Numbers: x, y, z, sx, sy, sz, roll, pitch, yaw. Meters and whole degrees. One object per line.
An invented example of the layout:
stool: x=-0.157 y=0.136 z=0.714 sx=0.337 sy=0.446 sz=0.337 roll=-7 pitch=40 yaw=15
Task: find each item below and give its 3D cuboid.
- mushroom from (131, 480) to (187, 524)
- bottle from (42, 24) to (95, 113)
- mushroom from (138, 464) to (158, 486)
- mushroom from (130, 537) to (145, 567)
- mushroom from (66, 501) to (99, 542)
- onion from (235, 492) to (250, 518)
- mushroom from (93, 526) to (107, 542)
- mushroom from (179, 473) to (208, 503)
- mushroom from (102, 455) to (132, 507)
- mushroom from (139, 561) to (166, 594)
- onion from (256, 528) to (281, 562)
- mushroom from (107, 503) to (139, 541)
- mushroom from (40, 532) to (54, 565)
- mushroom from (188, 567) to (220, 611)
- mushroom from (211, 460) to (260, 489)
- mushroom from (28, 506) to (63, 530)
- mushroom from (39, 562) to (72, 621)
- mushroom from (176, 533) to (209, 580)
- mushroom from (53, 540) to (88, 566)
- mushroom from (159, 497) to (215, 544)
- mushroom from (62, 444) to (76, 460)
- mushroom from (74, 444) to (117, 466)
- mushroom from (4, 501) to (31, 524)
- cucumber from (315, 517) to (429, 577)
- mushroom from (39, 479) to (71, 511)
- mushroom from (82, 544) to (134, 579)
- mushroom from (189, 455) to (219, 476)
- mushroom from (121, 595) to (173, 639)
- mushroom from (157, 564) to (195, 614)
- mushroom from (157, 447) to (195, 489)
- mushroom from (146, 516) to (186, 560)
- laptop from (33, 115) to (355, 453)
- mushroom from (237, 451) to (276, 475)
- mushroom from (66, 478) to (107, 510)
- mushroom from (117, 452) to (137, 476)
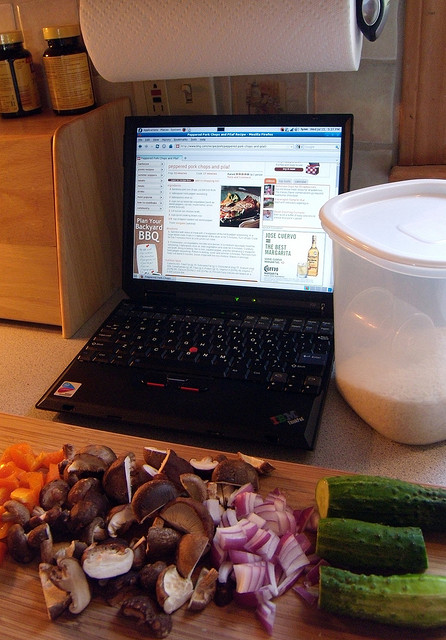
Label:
mushroom: x=-0.059 y=0.145 z=0.428 sx=0.053 sy=0.017 sz=0.030 roll=-20 pitch=0 yaw=-3
bottle: x=-0.251 y=-0.404 z=0.818 sx=0.073 sy=0.127 sz=0.038 roll=-6 pitch=25 yaw=-15
mushroom: x=-0.071 y=0.142 z=0.465 sx=0.016 sy=0.013 sz=0.018 roll=0 pitch=-2 yaw=-10
mushroom: x=-0.065 y=0.186 z=0.396 sx=0.007 sy=0.013 sz=0.013 roll=0 pitch=40 yaw=6
mushroom: x=-0.121 y=0.174 z=0.431 sx=0.029 sy=0.039 sz=0.019 roll=-7 pitch=25 yaw=-17
onion: x=0.017 y=0.159 z=0.434 sx=0.013 sy=0.014 sz=0.018 roll=2 pitch=25 yaw=1
mushroom: x=-0.103 y=0.180 z=0.421 sx=0.011 sy=0.003 sz=0.011 roll=35 pitch=41 yaw=-17
mushroom: x=-0.024 y=0.145 z=0.439 sx=0.019 sy=0.024 sz=0.006 roll=-38 pitch=15 yaw=-4
mushroom: x=-0.093 y=0.142 z=0.454 sx=0.017 sy=0.042 sz=0.034 roll=5 pitch=-10 yaw=34
mushroom: x=-0.053 y=0.191 z=0.377 sx=0.016 sy=0.020 sz=0.008 roll=24 pitch=-16 yaw=-7
onion: x=0.038 y=0.177 z=0.402 sx=0.012 sy=0.013 sz=0.031 roll=13 pitch=27 yaw=24
mushroom: x=-0.085 y=0.173 z=0.428 sx=0.023 sy=0.008 sz=0.031 roll=29 pitch=55 yaw=12
mushroom: x=-0.142 y=0.187 z=0.406 sx=0.012 sy=0.005 sz=0.017 roll=8 pitch=52 yaw=-5
mushroom: x=-0.013 y=0.204 z=0.380 sx=0.017 sy=0.008 sz=0.033 roll=9 pitch=24 yaw=8
mushroom: x=0.013 y=0.143 z=0.462 sx=0.047 sy=0.029 sz=0.030 roll=-1 pitch=25 yaw=-6
mushroom: x=-0.154 y=0.168 z=0.431 sx=0.022 sy=0.010 sz=0.023 roll=-1 pitch=25 yaw=13
mushroom: x=-0.129 y=0.205 z=0.383 sx=0.017 sy=0.024 sz=0.040 roll=-15 pitch=29 yaw=-31
mushroom: x=-0.025 y=0.176 z=0.375 sx=0.011 sy=0.026 sz=0.022 roll=22 pitch=-22 yaw=-17
mushroom: x=-0.121 y=0.183 z=0.399 sx=0.019 sy=0.006 sz=0.015 roll=-19 pitch=28 yaw=-19
mushroom: x=-0.028 y=0.160 z=0.408 sx=0.034 sy=0.035 sz=0.011 roll=-7 pitch=27 yaw=38
mushroom: x=-0.155 y=0.132 z=0.503 sx=0.013 sy=0.004 sz=0.013 roll=4 pitch=26 yaw=-29
mushroom: x=-0.121 y=0.129 z=0.492 sx=0.023 sy=0.006 sz=0.022 roll=17 pitch=13 yaw=-7
mushroom: x=-0.179 y=0.168 z=0.439 sx=0.026 sy=0.014 sz=0.015 roll=6 pitch=25 yaw=9
cucumber: x=0.113 y=0.168 z=0.392 sx=0.079 sy=0.032 sz=0.039 roll=5 pitch=35 yaw=8
mushroom: x=-0.150 y=0.157 z=0.456 sx=0.025 sy=0.010 sz=0.024 roll=-11 pitch=47 yaw=-3
mushroom: x=-0.087 y=0.184 z=0.384 sx=0.038 sy=0.016 sz=0.022 roll=-7 pitch=26 yaw=-17
mushroom: x=-0.017 y=0.137 z=0.472 sx=0.016 sy=0.008 sz=0.017 roll=10 pitch=11 yaw=17
mushroom: x=-0.053 y=0.208 z=0.360 sx=0.036 sy=0.023 sz=0.023 roll=15 pitch=28 yaw=27
mushroom: x=-0.035 y=0.197 z=0.373 sx=0.029 sy=0.012 sz=0.035 roll=27 pitch=23 yaw=-2
mushroom: x=-0.043 y=0.132 z=0.452 sx=0.007 sy=0.026 sz=0.026 roll=-37 pitch=10 yaw=44
mushroom: x=-0.046 y=0.173 z=0.399 sx=0.025 sy=0.009 sz=0.027 roll=-38 pitch=18 yaw=15
laptop: x=-0.027 y=-0.080 z=0.625 sx=0.342 sy=0.319 sz=0.341 roll=7 pitch=25 yaw=13
mushroom: x=0.033 y=0.136 z=0.479 sx=0.027 sy=0.009 sz=0.018 roll=-4 pitch=6 yaw=30
mushroom: x=-0.121 y=0.152 z=0.442 sx=0.023 sy=0.011 sz=0.027 roll=-18 pitch=29 yaw=24
mushroom: x=-0.091 y=0.139 z=0.491 sx=0.016 sy=0.019 sz=0.022 roll=-1 pitch=32 yaw=-1
